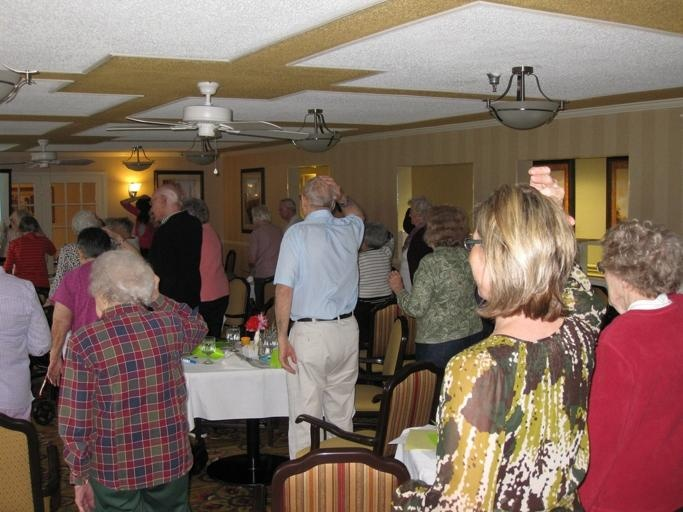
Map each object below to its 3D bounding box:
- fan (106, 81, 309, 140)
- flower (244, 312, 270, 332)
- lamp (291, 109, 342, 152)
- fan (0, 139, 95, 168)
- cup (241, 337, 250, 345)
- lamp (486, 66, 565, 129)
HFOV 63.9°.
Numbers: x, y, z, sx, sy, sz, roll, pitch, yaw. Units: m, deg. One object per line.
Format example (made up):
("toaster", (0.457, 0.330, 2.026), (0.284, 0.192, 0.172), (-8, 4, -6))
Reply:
("fan", (-0.989, -1.115, 4.195), (1.240, 0.341, 1.263), (14, 14, 39))
("flower", (-0.586, 0.485, 4.033), (0.202, 0.117, 0.193), (-8, 0, -20))
("lamp", (-0.221, -1.323, 5.721), (0.473, 0.323, 0.464), (5, 25, 46))
("fan", (-5.280, -1.852, 9.780), (0.999, 0.242, 0.906), (1, 9, 18))
("cup", (-0.700, 0.633, 4.021), (0.063, 0.042, 0.060), (0, -7, 0))
("lamp", (1.240, -1.082, 3.730), (0.581, 0.400, 0.518), (-9, 17, -29))
